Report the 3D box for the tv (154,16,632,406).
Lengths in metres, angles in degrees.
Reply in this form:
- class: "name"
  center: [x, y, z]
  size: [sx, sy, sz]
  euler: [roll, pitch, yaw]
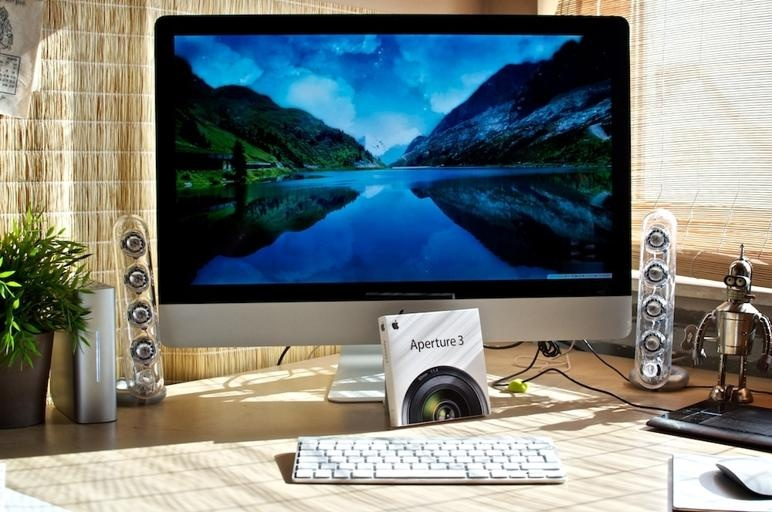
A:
- class: "tv"
  center: [0.017, -0.143, 1.345]
  size: [1.000, 0.683, 0.285]
  euler: [-1, -2, -4]
